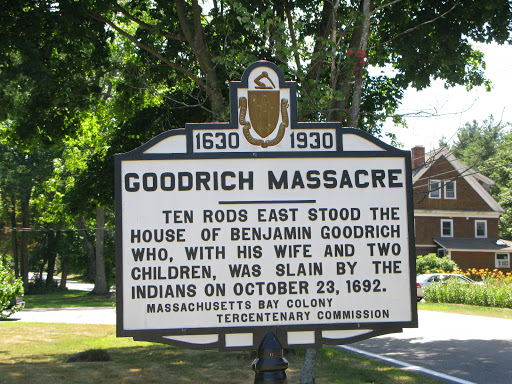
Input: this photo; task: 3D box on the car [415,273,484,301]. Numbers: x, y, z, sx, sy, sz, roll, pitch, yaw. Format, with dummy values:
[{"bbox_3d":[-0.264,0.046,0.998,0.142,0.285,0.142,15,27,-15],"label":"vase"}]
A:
[{"bbox_3d":[9.566,4.753,39.836,2.719,1.722,4.707,-2,-12,11],"label":"car"}]
